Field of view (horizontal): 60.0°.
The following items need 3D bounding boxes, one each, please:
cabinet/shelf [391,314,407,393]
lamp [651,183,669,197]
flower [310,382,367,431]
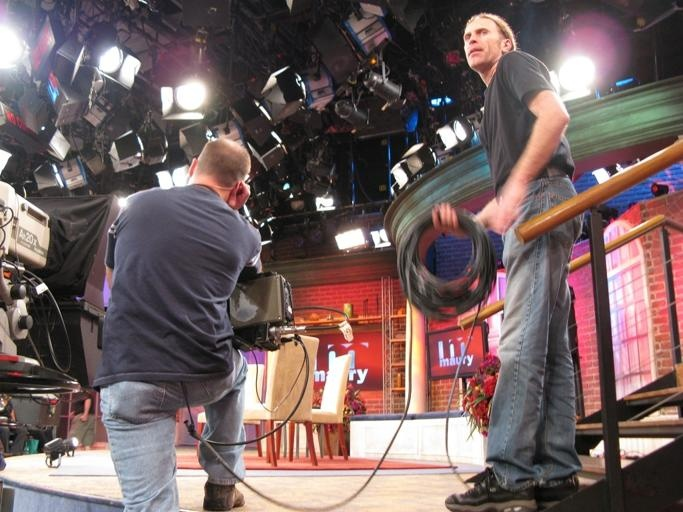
[{"bbox_3d":[1.021,1.743,10.554,0.296,1.426,0.449,-2,-14,4],"label":"cabinet/shelf"},{"bbox_3d":[4.045,-0.846,7.506,0.318,0.179,0.123,-7,-4,-45],"label":"lamp"},{"bbox_3d":[0.056,2.253,9.031,0.781,0.633,0.861,1,-9,-2],"label":"flower"}]
